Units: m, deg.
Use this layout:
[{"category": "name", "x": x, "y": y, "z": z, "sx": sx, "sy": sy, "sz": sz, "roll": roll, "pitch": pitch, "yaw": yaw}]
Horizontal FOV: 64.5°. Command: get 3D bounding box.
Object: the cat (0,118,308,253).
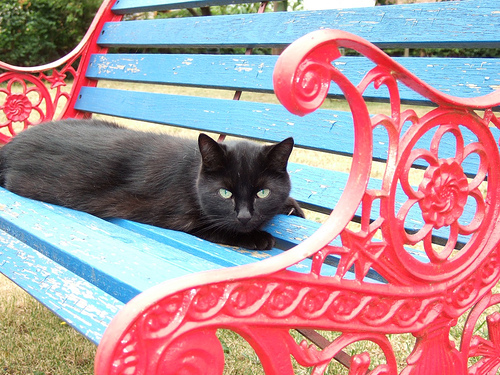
[{"category": "cat", "x": -0.479, "y": -0.092, "z": 1.915, "sx": 1.596, "sy": 0.528, "sz": 0.572, "roll": 7, "pitch": 38, "yaw": 16}]
